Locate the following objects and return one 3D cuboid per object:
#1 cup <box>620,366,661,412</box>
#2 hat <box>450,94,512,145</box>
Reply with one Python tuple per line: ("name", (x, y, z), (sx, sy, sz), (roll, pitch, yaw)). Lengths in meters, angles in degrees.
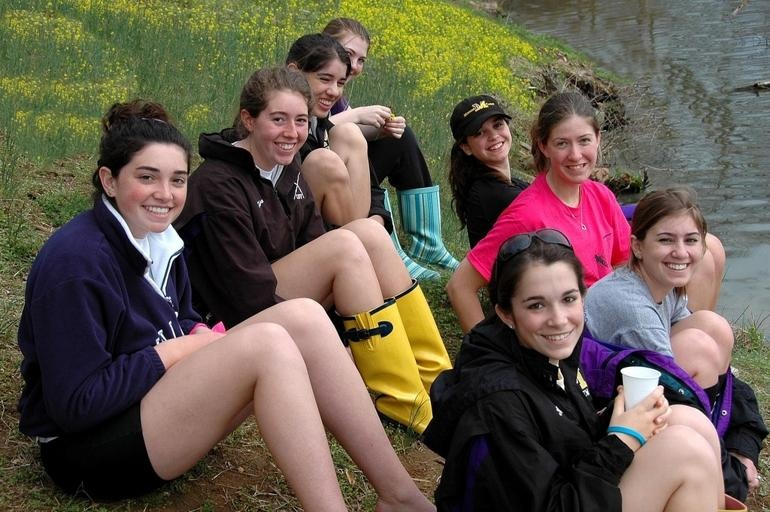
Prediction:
("cup", (1.307, 0.668, 3.442), (0.213, 0.210, 0.205), (2, -1, 0))
("hat", (0.750, -1.168, 5.556), (0.368, 0.250, 0.474), (-37, 5, -41))
